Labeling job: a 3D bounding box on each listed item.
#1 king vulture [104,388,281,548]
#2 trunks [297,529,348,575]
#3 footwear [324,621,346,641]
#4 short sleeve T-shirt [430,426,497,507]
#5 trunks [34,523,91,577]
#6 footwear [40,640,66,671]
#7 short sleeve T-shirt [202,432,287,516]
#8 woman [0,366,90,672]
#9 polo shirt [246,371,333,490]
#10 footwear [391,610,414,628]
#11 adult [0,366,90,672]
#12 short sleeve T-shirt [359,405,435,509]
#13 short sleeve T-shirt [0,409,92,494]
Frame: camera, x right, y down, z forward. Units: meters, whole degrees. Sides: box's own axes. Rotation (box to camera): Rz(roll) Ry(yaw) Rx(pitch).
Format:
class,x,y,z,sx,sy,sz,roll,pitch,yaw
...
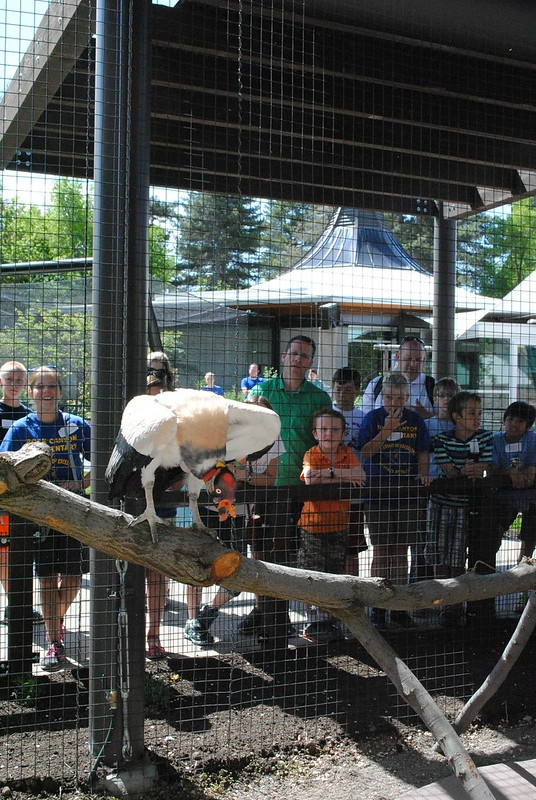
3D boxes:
class,x,y,z,sx,sy,sz,roll,pitch,yaw
king vulture,-0.358,0.264,5.638,0.741,0.622,0.828,1,2,9
trunks,0.325,0.843,7.279,0.264,0.271,0.268,1,1,-21
footwear,0.403,1.343,7.352,0.092,0.062,0.137,11,-1,1
short sleeve T-shirt,1.195,0.416,7.665,0.402,0.542,0.274,2,-18,-1
trunks,-1.218,0.840,6.968,0.227,0.297,0.227,-2,2,-20
footwear,-1.169,1.382,6.826,0.130,0.143,0.141,0,2,-10
short sleeve T-shirt,-0.087,0.399,6.878,0.478,0.586,0.414,2,0,-15
woman,-1.221,0.633,6.858,0.481,1.632,1.116,0,2,-9
polo shirt,0.158,0.119,7.391,0.516,0.685,0.238,5,35,5
footwear,0.811,1.328,7.611,0.125,0.118,0.128,0,1,30
adult,-1.222,0.633,6.860,0.484,1.632,1.094,0,2,-9
short sleeve T-shirt,0.796,0.263,7.619,0.515,0.669,0.265,4,35,4
short sleeve T-shirt,-1.089,0.257,6.205,0.441,0.376,0.184,3,-14,-15
